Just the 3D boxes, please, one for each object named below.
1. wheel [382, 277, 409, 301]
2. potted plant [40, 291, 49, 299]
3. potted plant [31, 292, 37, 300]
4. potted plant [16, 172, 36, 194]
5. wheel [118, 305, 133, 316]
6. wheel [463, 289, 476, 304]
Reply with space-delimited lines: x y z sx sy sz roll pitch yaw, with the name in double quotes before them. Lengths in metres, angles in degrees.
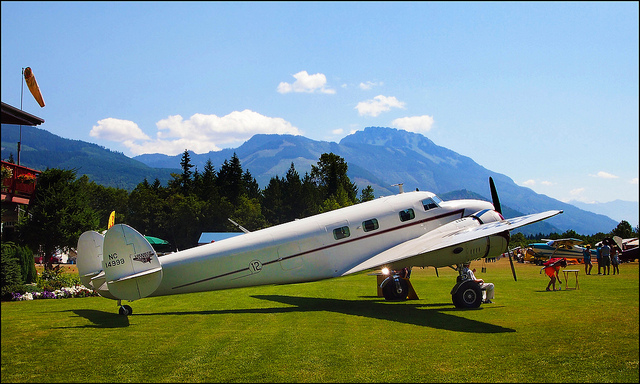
"wheel" 3.984 5.097 22.977 1.377 1.184 0.525 -3 2 -12
"potted plant" -15.139 5.639 24.033 0.411 0.329 0.303 0 -2 -29
"potted plant" -15.577 5.650 23.849 0.243 0.285 0.117 -7 -3 27
"potted plant" -23.318 -0.754 34.197 1.667 0.583 1.680 -9 -29 -20
"wheel" -8.604 5.237 19.380 0.563 0.360 0.793 0 -2 -24
"wheel" 6.979 4.910 20.437 0.736 0.632 0.217 -3 -4 0
